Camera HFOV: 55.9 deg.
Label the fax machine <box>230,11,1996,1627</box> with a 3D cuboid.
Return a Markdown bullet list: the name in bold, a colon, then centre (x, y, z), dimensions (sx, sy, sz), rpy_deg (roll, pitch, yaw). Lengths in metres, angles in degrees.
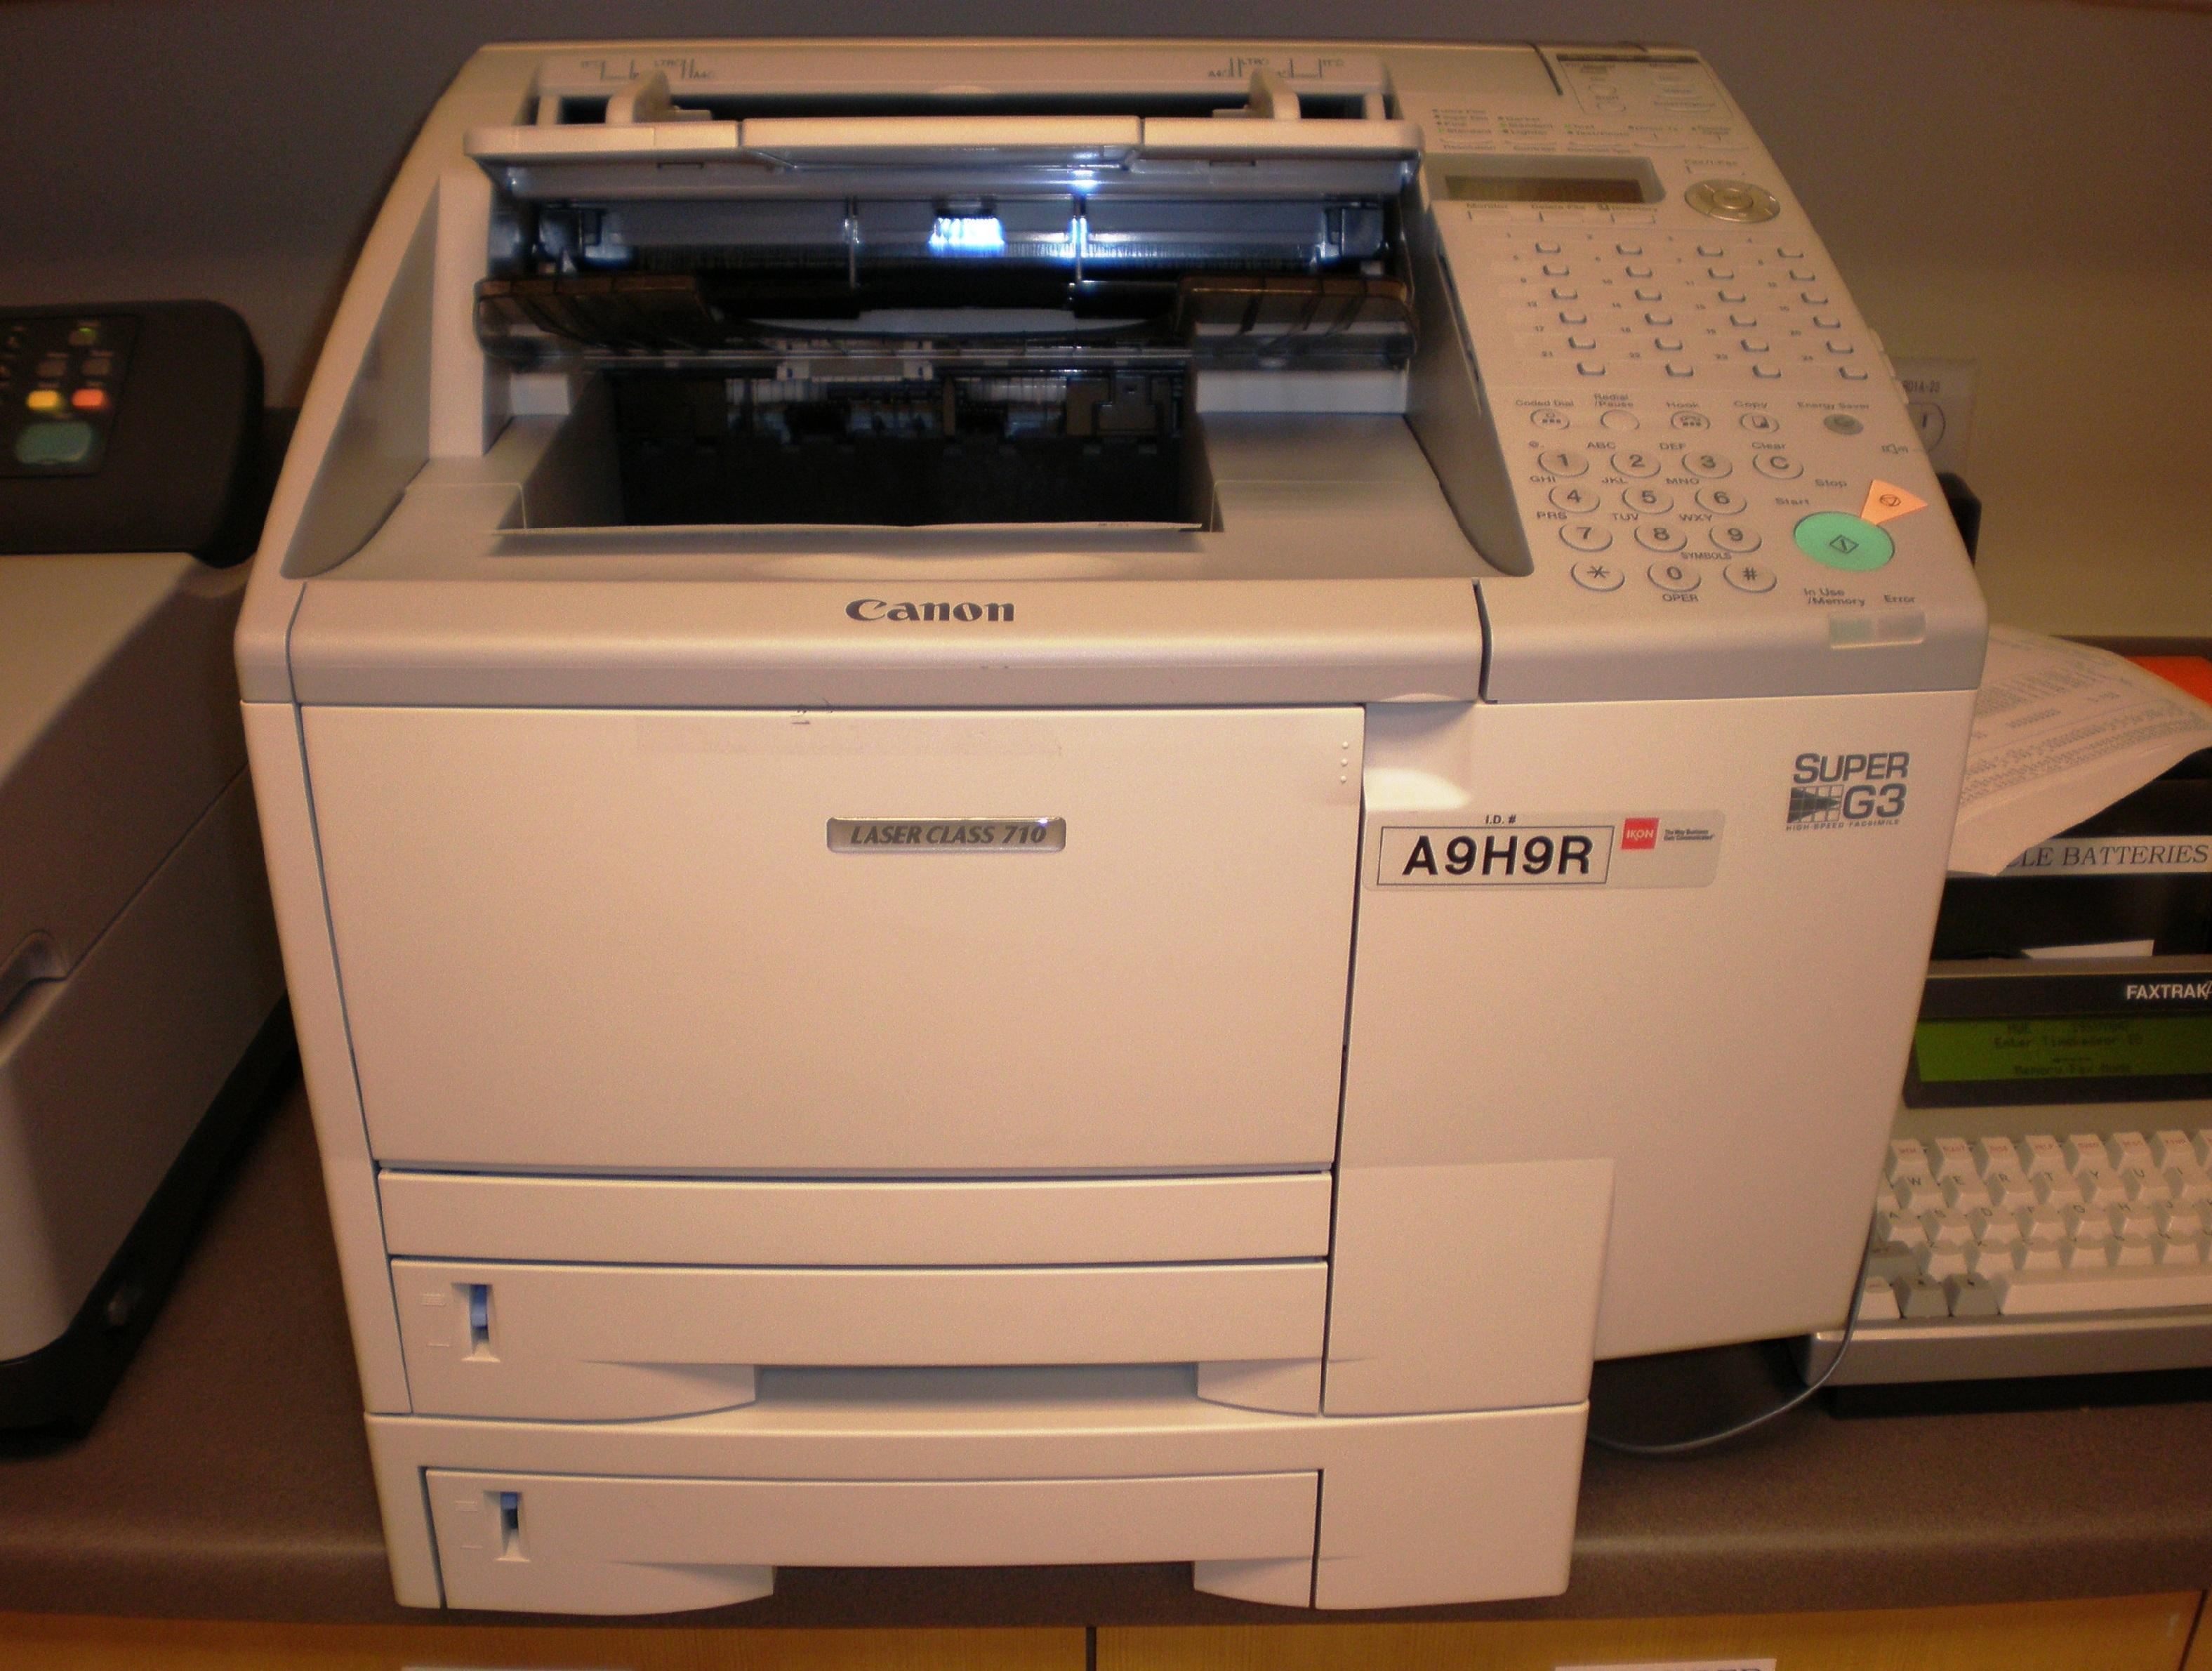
- **fax machine**: centre (0.013, -0.013, 1.186), dimensions (0.858, 0.751, 0.558), rpy_deg (-2, 32, 1)
